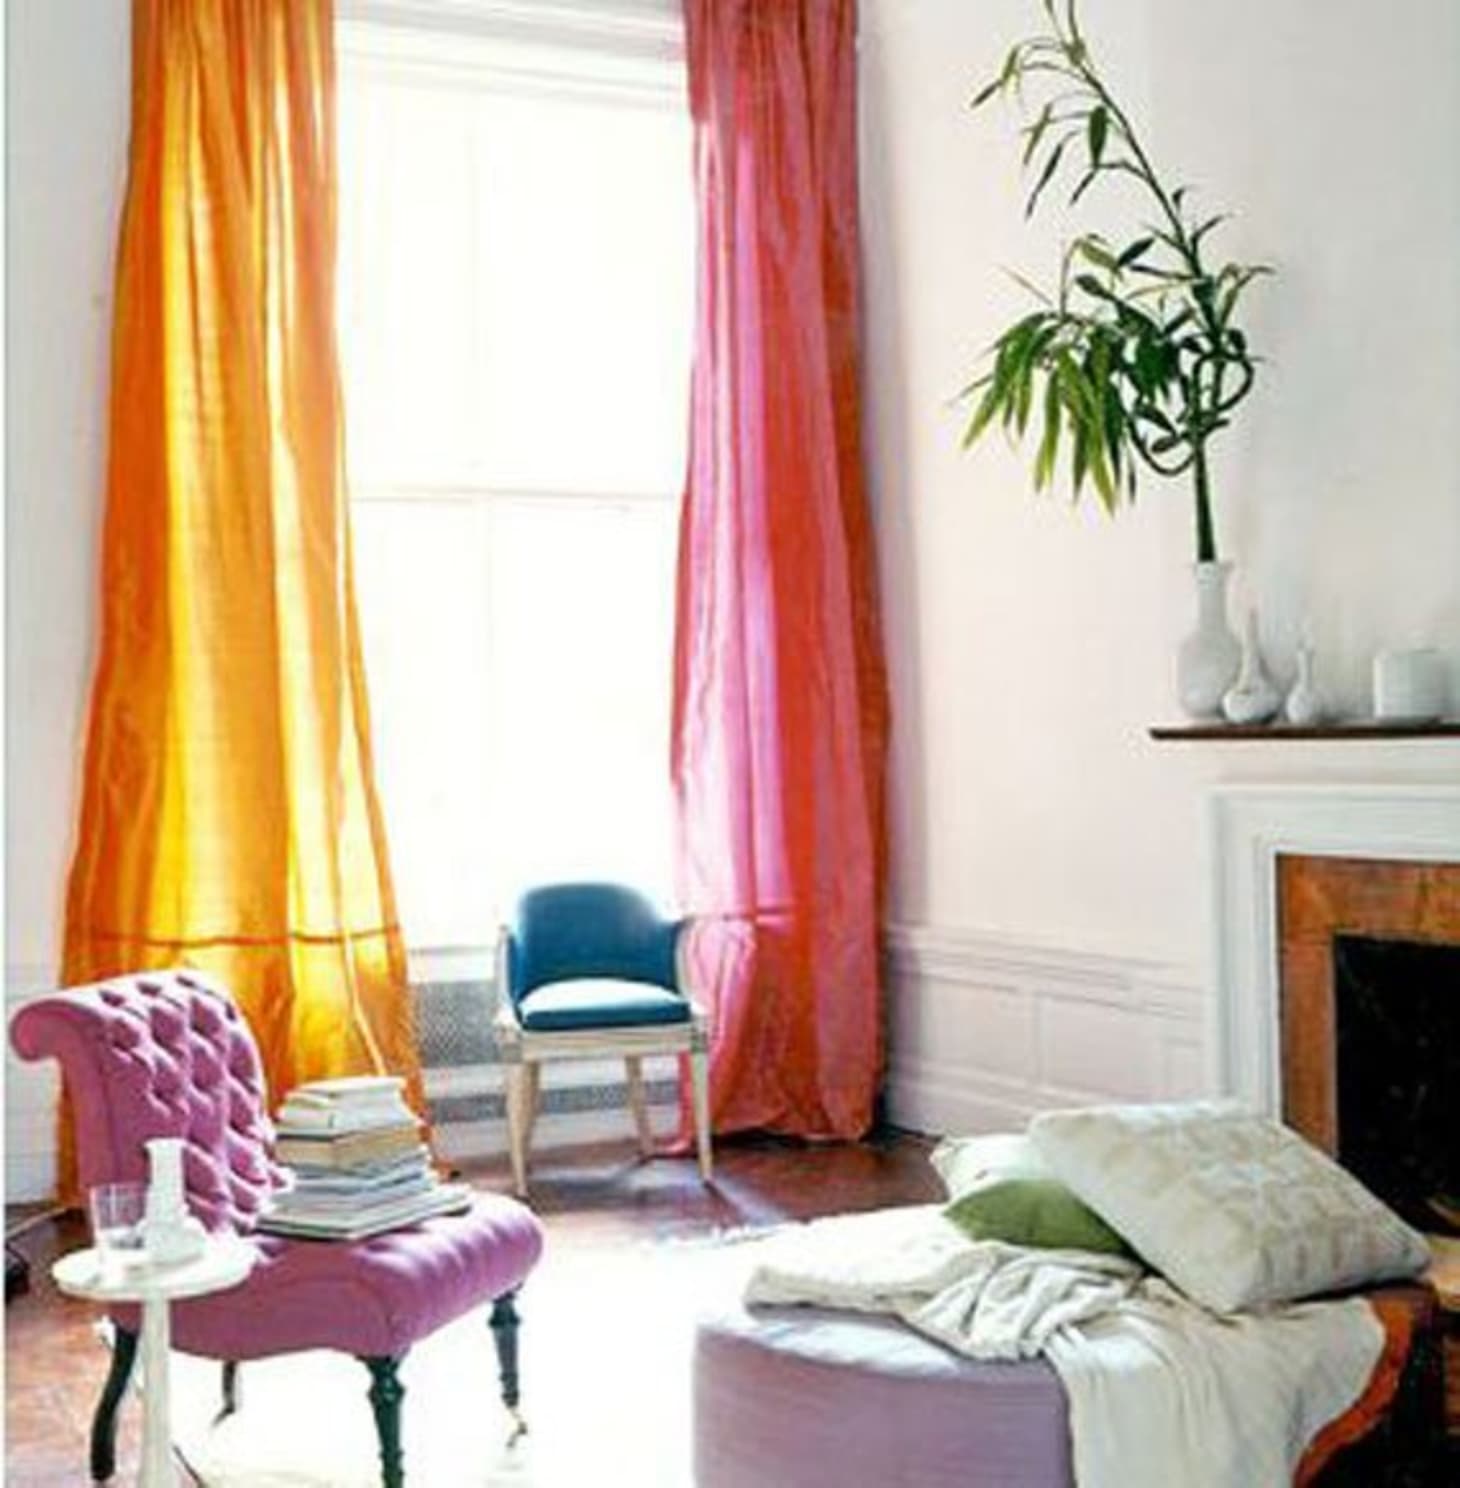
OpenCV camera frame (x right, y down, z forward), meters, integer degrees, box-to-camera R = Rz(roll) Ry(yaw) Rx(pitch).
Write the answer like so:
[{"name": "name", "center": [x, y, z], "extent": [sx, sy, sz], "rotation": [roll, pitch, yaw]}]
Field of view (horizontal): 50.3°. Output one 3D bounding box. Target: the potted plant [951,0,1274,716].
[{"name": "potted plant", "center": [0.863, -1.004, 3.614], "extent": [0.601, 1.809, 1.202], "rotation": [0, 7, 6]}]

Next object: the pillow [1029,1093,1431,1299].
[{"name": "pillow", "center": [0.714, 0.648, 2.107], "extent": [0.308, 0.105, 0.346], "rotation": [11, 16, -37]}]

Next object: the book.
[{"name": "book", "center": [-0.556, 0.554, 2.314], "extent": [0.177, 0.192, 0.272], "rotation": [-2, -4, 29]}]

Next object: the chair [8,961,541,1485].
[{"name": "chair", "center": [-0.680, 0.638, 2.529], "extent": [0.716, 0.944, 0.637], "rotation": [-1, 2, 11]}]

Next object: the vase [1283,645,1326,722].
[{"name": "vase", "center": [1.122, -0.118, 3.036], "extent": [0.075, 0.149, 0.273], "rotation": [2, 8, 20]}]

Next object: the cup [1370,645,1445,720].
[{"name": "cup", "center": [1.214, -0.103, 2.785], "extent": [0.105, 0.140, 0.117], "rotation": [0, -3, 22]}]

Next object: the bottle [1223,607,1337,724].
[{"name": "bottle", "center": [1.105, -0.154, 3.120], "extent": [0.198, 0.327, 0.113], "rotation": [0, 0, 32]}]

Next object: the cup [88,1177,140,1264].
[{"name": "cup", "center": [-0.757, 0.590, 1.922], "extent": [0.067, 0.131, 0.075], "rotation": [0, -3, -13]}]

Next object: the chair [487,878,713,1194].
[{"name": "chair", "center": [-0.392, 0.751, 4.155], "extent": [0.555, 0.859, 0.610], "rotation": [1, -6, -35]}]
